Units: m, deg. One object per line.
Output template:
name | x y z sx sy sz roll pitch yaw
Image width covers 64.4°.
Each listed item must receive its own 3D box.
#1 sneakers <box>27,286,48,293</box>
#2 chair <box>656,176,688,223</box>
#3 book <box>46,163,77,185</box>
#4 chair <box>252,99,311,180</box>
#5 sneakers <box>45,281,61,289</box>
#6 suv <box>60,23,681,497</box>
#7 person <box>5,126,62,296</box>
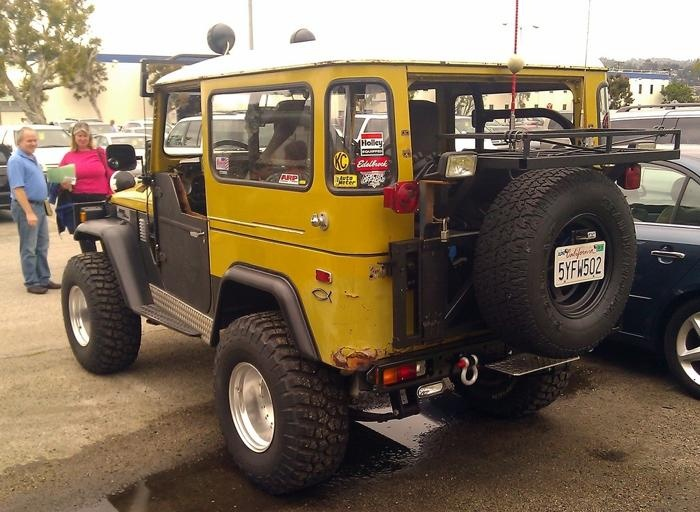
sneakers | -4.763 0.511 8.490 0.322 0.145 0.124 1 5 30
chair | 3.117 -0.532 5.358 0.320 0.462 0.255 -20 27 -35
book | -4.140 -1.162 7.970 0.342 0.200 0.260 0 9 3
chair | -0.408 -0.748 3.688 0.318 0.595 0.530 -4 10 -30
sneakers | -4.615 0.463 8.633 0.243 0.103 0.082 -2 17 -33
suv | -0.584 -0.183 5.683 2.996 3.418 5.664 -7 13 -43
person | -4.756 -0.652 8.298 0.506 2.452 0.691 -8 14 -29
